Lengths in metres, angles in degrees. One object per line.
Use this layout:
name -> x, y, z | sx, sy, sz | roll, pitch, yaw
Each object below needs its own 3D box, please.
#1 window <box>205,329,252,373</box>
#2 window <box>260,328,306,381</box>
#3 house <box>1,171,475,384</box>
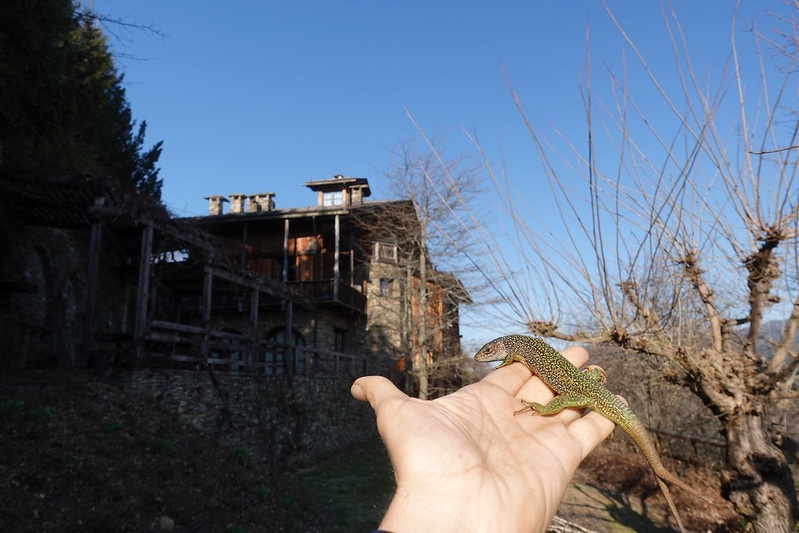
window -> -5.898, 2.978, 20.767 | 1.255, 1.389, 9.556 | 4, -9, -16
window -> -4.286, 3.214, 22.129 | 2.267, 2.924, 0.105 | 0, -1, 16
house -> -6.123, 0.795, 21.702 | 7.652, 5.463, 13.188 | -3, -7, 23
